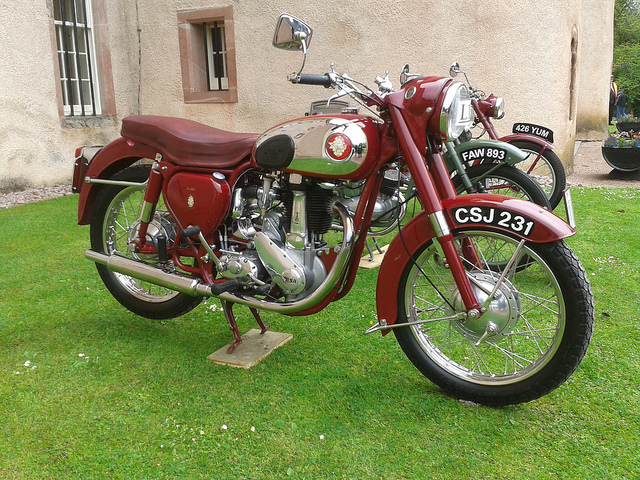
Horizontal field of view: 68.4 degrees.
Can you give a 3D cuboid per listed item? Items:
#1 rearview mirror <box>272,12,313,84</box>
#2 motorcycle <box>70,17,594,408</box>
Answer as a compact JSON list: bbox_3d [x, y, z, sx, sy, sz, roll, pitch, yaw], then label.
[{"bbox_3d":[-0.134,-0.967,2.337,0.180,0.342,0.297,-2,16,-2],"label":"rearview mirror"},{"bbox_3d":[-0.179,-0.108,2.852,3.252,1.479,1.120,8,14,23],"label":"motorcycle"}]
